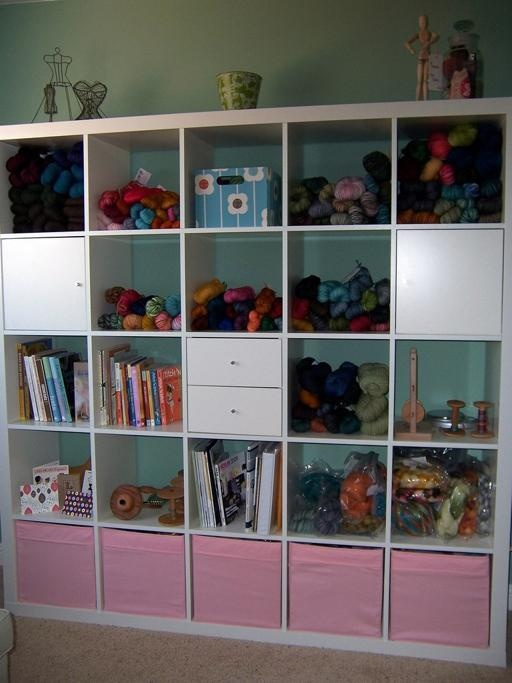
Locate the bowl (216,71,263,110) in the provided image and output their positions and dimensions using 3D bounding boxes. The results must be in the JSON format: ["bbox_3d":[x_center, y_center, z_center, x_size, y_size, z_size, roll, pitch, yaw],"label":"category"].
[{"bbox_3d":[-0.062,-0.914,2.228,0.168,0.101,0.163,0,3,0],"label":"bowl"}]

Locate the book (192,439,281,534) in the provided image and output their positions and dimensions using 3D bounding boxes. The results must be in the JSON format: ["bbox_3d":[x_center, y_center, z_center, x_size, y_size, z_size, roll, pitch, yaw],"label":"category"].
[{"bbox_3d":[-0.032,0.556,2.398,0.379,0.361,0.285,-2,1,23],"label":"book"}]

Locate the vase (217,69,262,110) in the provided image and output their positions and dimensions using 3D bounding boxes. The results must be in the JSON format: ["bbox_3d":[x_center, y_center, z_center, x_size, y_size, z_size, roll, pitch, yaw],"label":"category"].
[{"bbox_3d":[-0.066,-0.914,2.228,0.168,0.100,0.163,0,4,1],"label":"vase"}]
